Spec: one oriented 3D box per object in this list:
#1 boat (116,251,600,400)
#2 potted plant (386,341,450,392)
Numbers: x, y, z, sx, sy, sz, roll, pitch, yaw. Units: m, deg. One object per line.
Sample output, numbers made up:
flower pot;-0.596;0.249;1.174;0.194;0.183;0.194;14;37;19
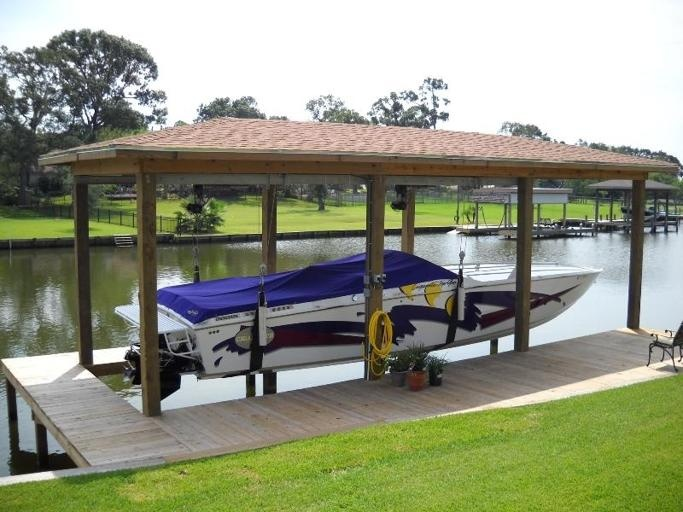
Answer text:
boat;1.171;0.980;12.508;9.615;2.094;2.795;-6;13;-26
potted plant;1.148;1.707;10.588;0.755;0.518;0.669;-1;5;-4
